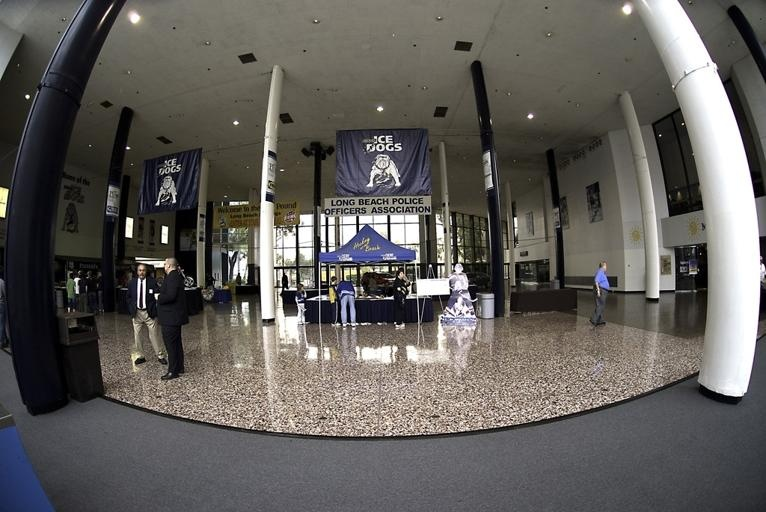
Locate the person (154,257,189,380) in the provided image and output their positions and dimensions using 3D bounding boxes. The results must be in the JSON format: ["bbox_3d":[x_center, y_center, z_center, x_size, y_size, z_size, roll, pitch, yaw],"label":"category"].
[{"bbox_3d":[-3.752,1.107,8.549,0.503,2.161,0.441,1,-5,-27],"label":"person"}]

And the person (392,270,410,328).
[{"bbox_3d":[0.485,1.124,12.836,0.395,1.543,0.865,-1,-4,3],"label":"person"}]

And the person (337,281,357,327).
[{"bbox_3d":[-0.982,1.292,13.110,0.505,1.232,0.554,-1,-4,-6],"label":"person"}]

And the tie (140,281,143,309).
[{"bbox_3d":[-4.569,0.740,9.116,0.068,0.504,0.232,1,-5,-26],"label":"tie"}]

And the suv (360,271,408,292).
[{"bbox_3d":[-0.277,1.088,19.949,0.815,0.778,1.744,4,8,35],"label":"suv"}]

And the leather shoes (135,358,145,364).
[{"bbox_3d":[-4.689,2.050,9.252,0.147,0.102,0.085,-13,-1,-2],"label":"leather shoes"}]

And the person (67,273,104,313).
[{"bbox_3d":[-10.217,1.253,16.494,1.028,1.478,1.426,1,-5,-33],"label":"person"}]

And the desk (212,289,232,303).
[{"bbox_3d":[-7.261,1.789,21.686,0.753,0.651,0.879,0,-4,-22],"label":"desk"}]

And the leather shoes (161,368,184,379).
[{"bbox_3d":[-3.725,2.118,8.485,0.329,0.151,0.133,9,-12,-33],"label":"leather shoes"}]

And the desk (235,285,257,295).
[{"bbox_3d":[-8.584,2.113,30.273,1.932,0.556,0.816,-5,-5,40],"label":"desk"}]

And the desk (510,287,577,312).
[{"bbox_3d":[5.048,1.420,15.000,2.141,0.704,0.343,-1,-4,-12],"label":"desk"}]
